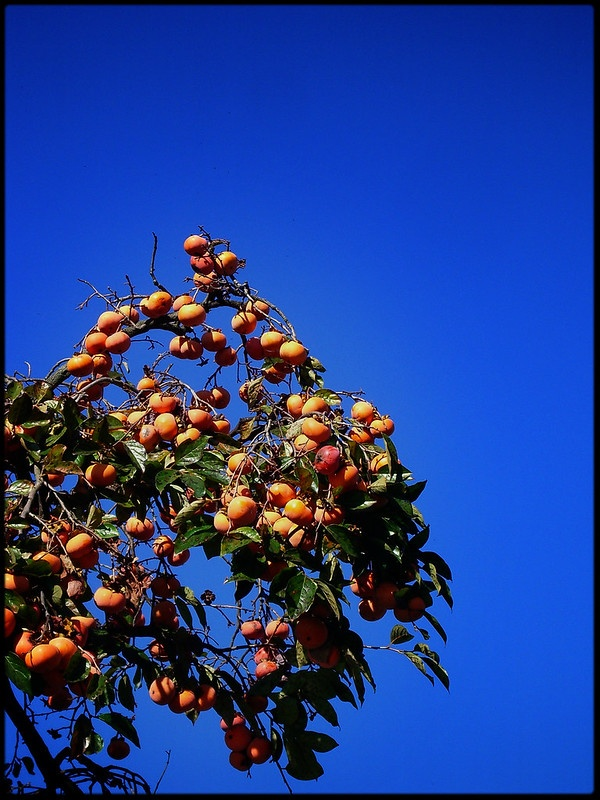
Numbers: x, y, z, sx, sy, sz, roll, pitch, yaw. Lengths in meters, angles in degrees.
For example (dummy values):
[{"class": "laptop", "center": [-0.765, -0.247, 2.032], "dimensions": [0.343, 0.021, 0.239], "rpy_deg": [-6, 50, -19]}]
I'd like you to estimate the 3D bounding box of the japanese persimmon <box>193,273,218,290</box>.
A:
[{"class": "japanese persimmon", "center": [-0.419, -0.522, 6.550], "dimensions": [0.097, 0.090, 0.074], "rpy_deg": [-2, -40, -5]}]
